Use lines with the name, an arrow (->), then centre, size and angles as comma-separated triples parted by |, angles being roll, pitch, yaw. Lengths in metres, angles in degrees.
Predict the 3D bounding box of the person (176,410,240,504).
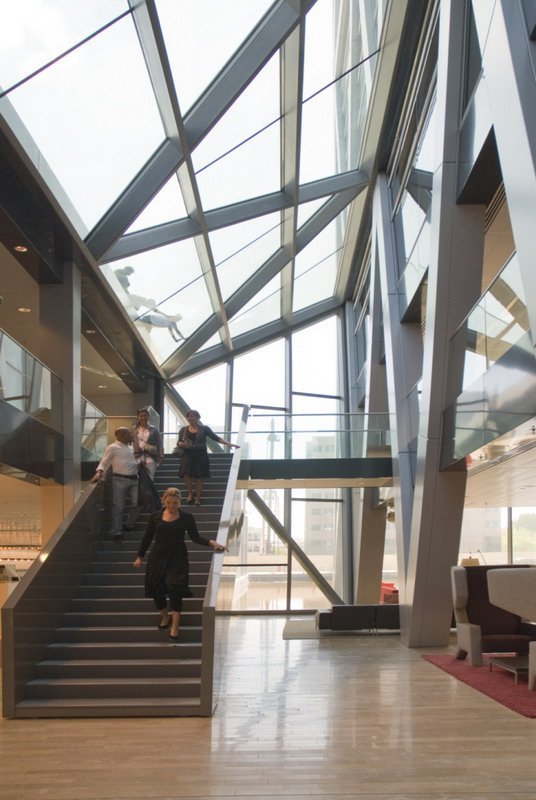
person -> -1.115, 1.037, 10.835 | 1.360, 2.244, 0.852 | 0, -31, -6

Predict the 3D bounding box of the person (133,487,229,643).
person -> -0.981, 1.651, 6.119 | 0.788, 1.472, 0.459 | 2, -14, -5

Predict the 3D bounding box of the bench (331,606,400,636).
bench -> 1.903, 4.279, 11.814 | 1.349, 0.463, 0.279 | -3, -15, 11

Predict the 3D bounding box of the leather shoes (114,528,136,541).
leather shoes -> -1.988, 1.829, 8.227 | 0.247, 0.215, 0.504 | 1, -16, -4

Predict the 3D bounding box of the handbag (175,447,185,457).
handbag -> -1.409, 0.807, 9.404 | 0.085, 0.177, 0.386 | 5, -16, -17

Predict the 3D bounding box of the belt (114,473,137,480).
belt -> -1.966, 1.045, 8.272 | 0.352, 0.096, 0.109 | 13, -20, -38
